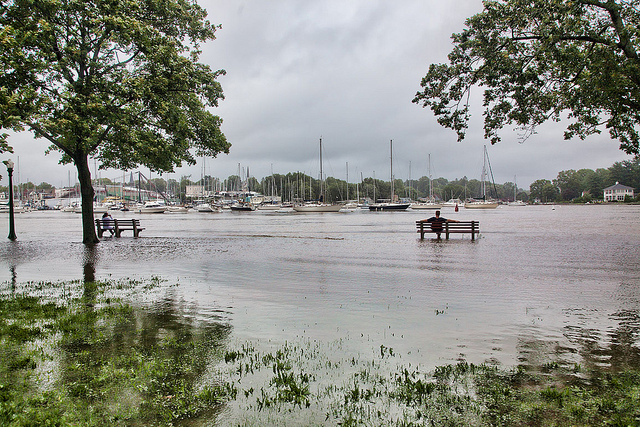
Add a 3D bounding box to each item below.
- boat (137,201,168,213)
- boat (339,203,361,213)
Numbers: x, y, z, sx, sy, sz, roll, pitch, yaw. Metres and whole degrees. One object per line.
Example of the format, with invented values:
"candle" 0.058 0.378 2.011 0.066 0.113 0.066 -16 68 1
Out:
"boat" -37.419 -1.344 129.080 9.396 2.965 3.082 -1 4 43
"boat" 8.058 -1.511 156.275 3.509 1.929 5.126 3 4 32
